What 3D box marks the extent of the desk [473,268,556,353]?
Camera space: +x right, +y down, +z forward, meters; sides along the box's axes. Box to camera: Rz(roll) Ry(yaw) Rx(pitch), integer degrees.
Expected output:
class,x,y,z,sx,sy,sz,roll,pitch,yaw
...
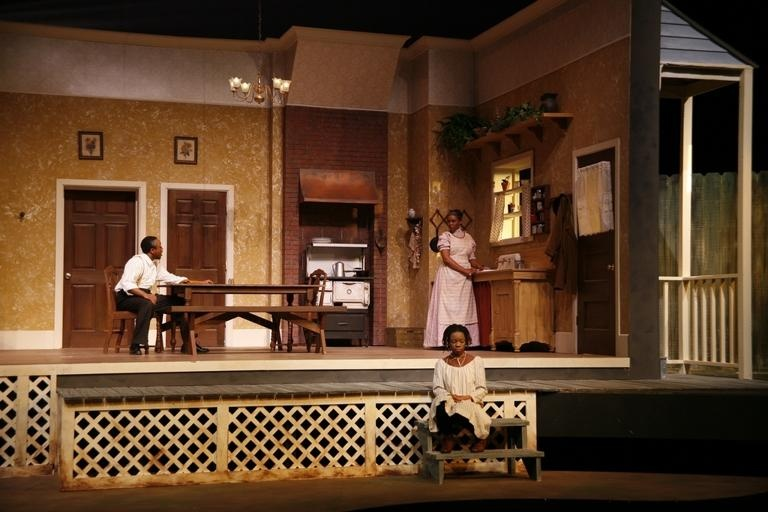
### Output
class,x,y,z,sx,sy,sz,roll,pitch,yaw
desk,1.859,0.839,15.684,0.836,1.153,1.718,2,-5,-20

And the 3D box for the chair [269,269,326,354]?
class,x,y,z,sx,sy,sz,roll,pitch,yaw
chair,-0.930,0.766,14.853,0.716,1.138,0.776,5,-4,43

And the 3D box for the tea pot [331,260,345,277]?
class,x,y,z,sx,sy,sz,roll,pitch,yaw
tea pot,-0.725,0.229,16.978,0.193,0.302,0.439,1,-6,-3

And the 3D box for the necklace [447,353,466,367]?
class,x,y,z,sx,sy,sz,roll,pitch,yaw
necklace,0.805,1.135,11.719,0.177,0.080,0.160,1,-15,1

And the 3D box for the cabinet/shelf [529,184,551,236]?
class,x,y,z,sx,sy,sz,roll,pitch,yaw
cabinet/shelf,2.222,-0.626,15.333,0.117,0.697,0.396,4,-6,-31

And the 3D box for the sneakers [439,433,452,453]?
class,x,y,z,sx,sy,sz,roll,pitch,yaw
sneakers,0.671,2.033,11.621,0.150,0.261,0.450,0,-12,3

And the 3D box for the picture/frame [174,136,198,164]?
class,x,y,z,sx,sy,sz,roll,pitch,yaw
picture/frame,-3.132,-1.640,16.817,0.445,0.516,0.053,1,-5,-18

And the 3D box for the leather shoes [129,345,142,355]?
class,x,y,z,sx,sy,sz,roll,pitch,yaw
leather shoes,-3.141,1.196,13.570,0.168,0.124,0.272,2,-6,-14

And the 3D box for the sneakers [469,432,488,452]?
class,x,y,z,sx,sy,sz,roll,pitch,yaw
sneakers,1.028,2.079,11.676,0.100,0.124,0.297,-5,-16,17

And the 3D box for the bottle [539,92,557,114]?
class,x,y,z,sx,sy,sz,roll,pitch,yaw
bottle,2.289,-2.112,15.017,0.259,0.254,0.260,2,-15,-2

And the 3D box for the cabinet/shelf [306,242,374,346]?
class,x,y,z,sx,sy,sz,roll,pitch,yaw
cabinet/shelf,-0.753,0.616,16.976,0.931,1.583,0.829,-2,-4,-8

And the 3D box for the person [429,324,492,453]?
class,x,y,z,sx,sy,sz,roll,pitch,yaw
person,0.827,1.451,11.723,0.674,1.365,0.480,1,-5,3

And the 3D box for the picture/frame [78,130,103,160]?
class,x,y,z,sx,sy,sz,roll,pitch,yaw
picture/frame,-4.539,-1.692,16.485,0.460,0.537,0.040,0,-2,-25

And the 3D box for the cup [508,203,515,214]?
class,x,y,z,sx,sy,sz,roll,pitch,yaw
cup,1.920,-0.702,16.165,0.113,0.204,0.113,1,-7,0

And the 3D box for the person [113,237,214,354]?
class,x,y,z,sx,sy,sz,roll,pitch,yaw
person,-3.041,0.536,14.079,0.940,1.545,1.046,3,-6,-20

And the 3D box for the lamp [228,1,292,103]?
class,x,y,z,sx,sy,sz,roll,pitch,yaw
lamp,-1.847,-2.827,16.211,0.962,1.516,1.944,2,-6,-8

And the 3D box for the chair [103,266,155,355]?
class,x,y,z,sx,sy,sz,roll,pitch,yaw
chair,-3.366,0.729,14.274,0.778,1.207,0.820,-1,-4,-28
